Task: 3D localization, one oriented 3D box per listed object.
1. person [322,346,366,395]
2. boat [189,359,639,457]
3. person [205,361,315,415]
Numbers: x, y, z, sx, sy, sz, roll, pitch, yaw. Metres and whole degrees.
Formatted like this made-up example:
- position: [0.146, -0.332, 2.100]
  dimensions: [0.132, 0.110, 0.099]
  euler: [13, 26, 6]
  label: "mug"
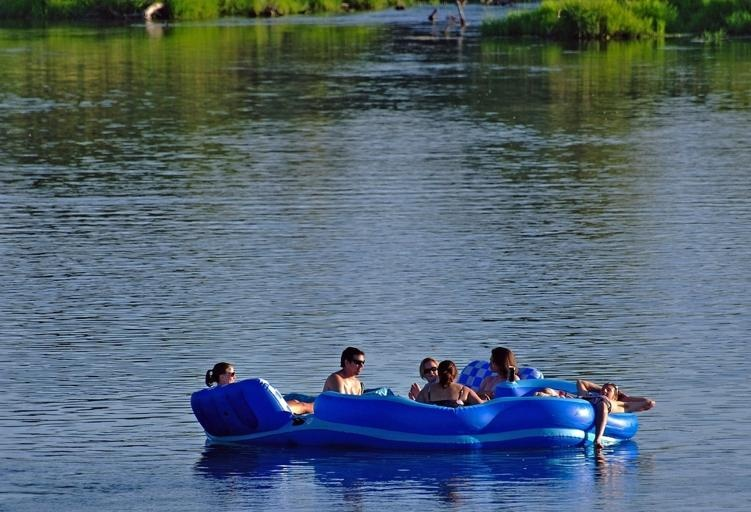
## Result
- position: [-0.597, 2.482, 42.709]
  dimensions: [0.873, 1.316, 1.003]
  euler: [8, 0, 11]
  label: "person"
- position: [0.676, 3.380, 42.682]
  dimensions: [6.019, 1.122, 3.181]
  euler: [-1, -8, 4]
  label: "boat"
- position: [-2.414, 2.555, 43.432]
  dimensions: [2.089, 1.045, 1.503]
  euler: [-1, 13, -1]
  label: "person"
